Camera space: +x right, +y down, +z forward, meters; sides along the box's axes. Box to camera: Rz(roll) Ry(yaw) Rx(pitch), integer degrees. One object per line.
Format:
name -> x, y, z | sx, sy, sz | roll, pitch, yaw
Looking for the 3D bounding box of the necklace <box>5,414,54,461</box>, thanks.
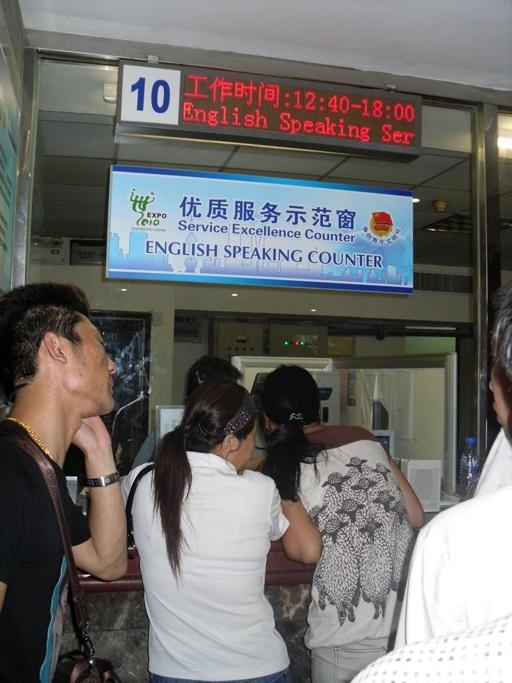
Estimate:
necklace -> -0.405, 0.166, 1.008 | 0.082, 0.021, 0.067 | 40, -13, 5
